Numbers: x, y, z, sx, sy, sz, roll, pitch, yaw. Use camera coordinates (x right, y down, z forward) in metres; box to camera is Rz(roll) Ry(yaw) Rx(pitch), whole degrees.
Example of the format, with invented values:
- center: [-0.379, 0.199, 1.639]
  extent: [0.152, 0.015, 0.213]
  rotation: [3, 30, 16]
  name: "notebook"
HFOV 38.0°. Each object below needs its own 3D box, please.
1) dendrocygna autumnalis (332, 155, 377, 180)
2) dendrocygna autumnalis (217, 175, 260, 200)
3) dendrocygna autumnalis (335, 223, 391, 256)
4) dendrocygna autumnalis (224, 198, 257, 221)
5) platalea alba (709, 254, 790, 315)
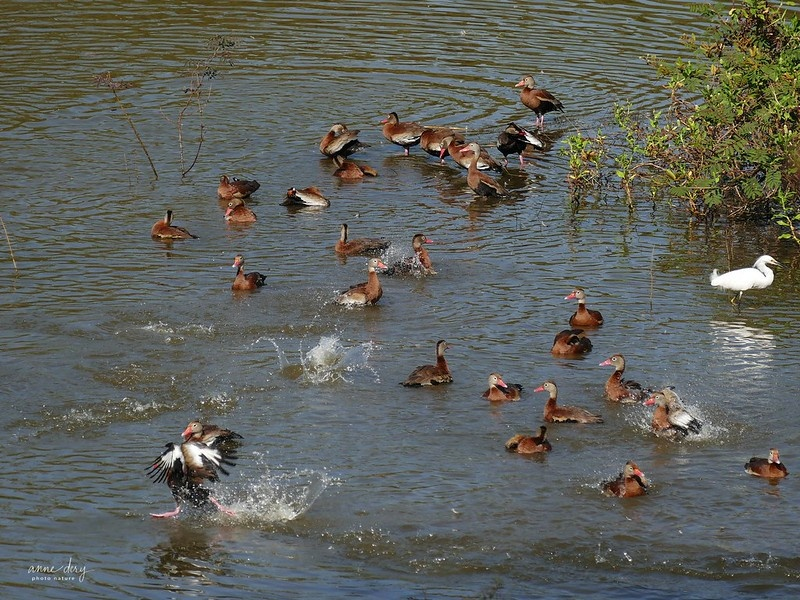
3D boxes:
- center: [-1.469, -3.793, 33.411]
  extent: [1.374, 0.433, 0.641]
  rotation: [18, 38, 40]
  name: "dendrocygna autumnalis"
- center: [-4.294, -2.935, 31.012]
  extent: [1.379, 0.602, 0.592]
  rotation: [0, 12, 4]
  name: "dendrocygna autumnalis"
- center: [-0.957, -1.352, 27.876]
  extent: [1.562, 0.619, 0.668]
  rotation: [1, 0, -1]
  name: "dendrocygna autumnalis"
- center: [-4.180, -2.283, 29.880]
  extent: [0.605, 0.400, 0.814]
  rotation: [-14, 21, -42]
  name: "dendrocygna autumnalis"
- center: [7.532, -0.394, 25.141]
  extent: [1.729, 0.998, 1.483]
  rotation: [8, 14, 23]
  name: "platalea alba"
